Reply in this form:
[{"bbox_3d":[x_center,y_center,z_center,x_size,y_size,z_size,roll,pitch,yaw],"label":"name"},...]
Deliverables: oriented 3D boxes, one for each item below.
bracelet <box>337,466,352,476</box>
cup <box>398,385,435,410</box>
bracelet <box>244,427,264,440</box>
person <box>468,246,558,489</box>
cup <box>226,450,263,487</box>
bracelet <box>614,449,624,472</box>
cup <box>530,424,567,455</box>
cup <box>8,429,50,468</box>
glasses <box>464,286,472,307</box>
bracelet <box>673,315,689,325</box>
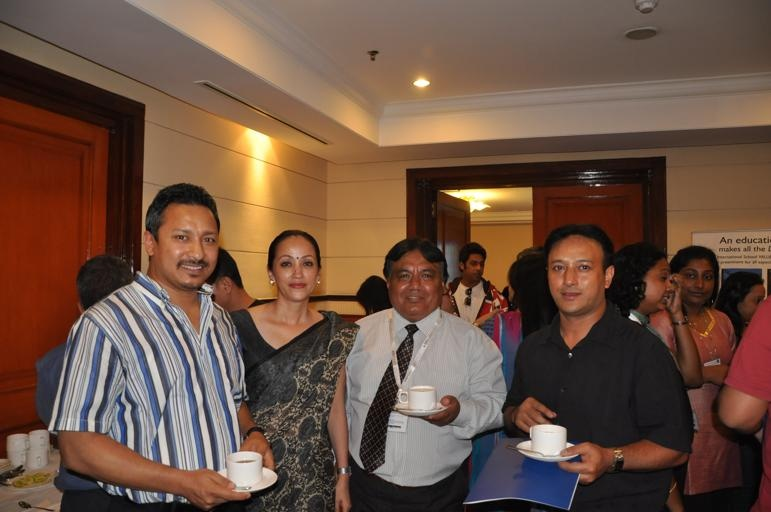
[{"bbox_3d":[-0.217,1.196,3.082,0.066,0.040,0.068,10,-26,-28],"label":"bracelet"},{"bbox_3d":[0.166,0.726,2.851,0.146,0.088,0.108,-1,-2,7],"label":"cup"},{"bbox_3d":[-0.652,0.868,2.747,0.066,0.064,0.062,-14,5,40],"label":"bracelet"},{"bbox_3d":[0.924,0.682,3.765,0.382,1.274,0.331,5,24,15],"label":"person"},{"bbox_3d":[-0.603,0.917,2.372,0.136,0.103,0.135,1,3,0],"label":"cup"},{"bbox_3d":[1.051,0.919,2.494,0.063,0.091,0.022,2,0,-29],"label":"bracelet"},{"bbox_3d":[0.730,0.822,2.472,0.130,0.096,0.130,-6,-9,-1],"label":"cup"},{"bbox_3d":[-2.133,1.142,3.346,0.186,0.237,0.324,0,-5,-14],"label":"cup"},{"bbox_3d":[0.937,0.468,6.249,0.098,0.162,0.049,5,-11,-8],"label":"glasses"},{"bbox_3d":[1.784,0.397,3.348,0.060,0.063,0.025,0,-2,-33],"label":"bracelet"}]
